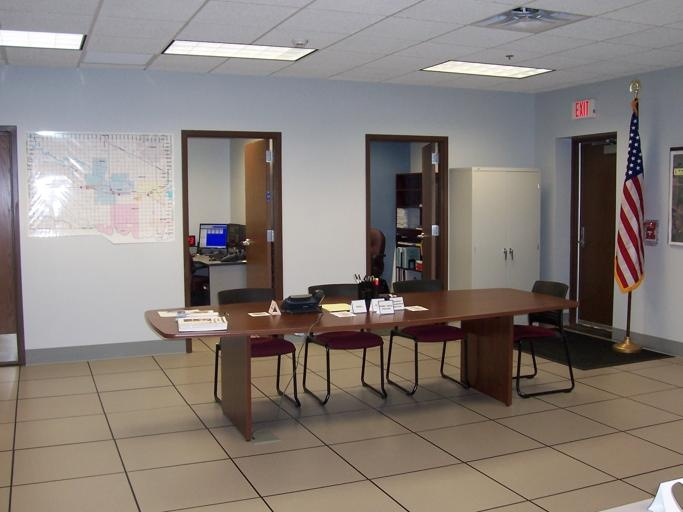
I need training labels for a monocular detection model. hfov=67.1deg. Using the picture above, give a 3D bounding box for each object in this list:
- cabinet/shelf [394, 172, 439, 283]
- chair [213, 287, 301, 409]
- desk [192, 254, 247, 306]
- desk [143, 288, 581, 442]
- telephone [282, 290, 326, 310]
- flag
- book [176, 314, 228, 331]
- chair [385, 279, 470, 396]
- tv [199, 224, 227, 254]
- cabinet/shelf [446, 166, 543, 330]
[{"bbox_3d":[1.227,-0.439,8.634,0.574,1.950,2.313,0,7,4],"label":"cabinet/shelf"},{"bbox_3d":[-0.820,0.862,4.882,0.770,1.139,0.742,2,-5,-34],"label":"chair"},{"bbox_3d":[-2.243,0.608,9.194,1.018,0.933,1.932,-1,-15,-14],"label":"desk"},{"bbox_3d":[0.342,0.924,4.751,3.725,0.983,0.995,-2,7,-17],"label":"desk"},{"bbox_3d":[-0.351,0.394,4.547,0.269,0.132,0.182,-3,9,-21],"label":"telephone"},{"bbox_3d":[3.619,-0.734,6.360,0.306,2.369,0.233,3,8,25],"label":"flag"},{"bbox_3d":[-1.094,0.528,4.004,0.364,0.068,0.291,-2,7,-18],"label":"book"},{"bbox_3d":[0.916,0.813,5.474,0.827,1.116,0.767,0,0,-38],"label":"chair"},{"bbox_3d":[-2.345,-0.305,9.351,0.632,0.531,0.195,5,9,34],"label":"tv"},{"bbox_3d":[2.152,-0.152,7.827,0.669,2.565,1.411,11,24,39],"label":"cabinet/shelf"}]
